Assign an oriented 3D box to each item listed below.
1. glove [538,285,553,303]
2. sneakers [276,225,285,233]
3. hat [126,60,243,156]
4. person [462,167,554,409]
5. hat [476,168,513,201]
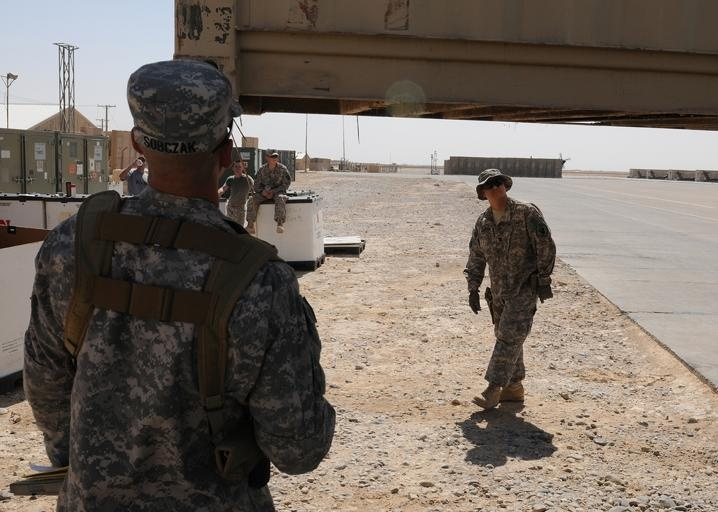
[{"bbox_3d":[1.793,0.326,9.003,0.181,0.186,0.063,-3,8,29],"label":"glove"},{"bbox_3d":[-1.235,-0.438,14.990,0.077,0.128,0.127,0,-6,0],"label":"sneakers"},{"bbox_3d":[-0.982,-0.933,5.473,0.610,0.390,0.803,2,30,3],"label":"hat"},{"bbox_3d":[1.426,0.296,9.099,0.766,2.242,0.822,-6,13,-17],"label":"person"},{"bbox_3d":[1.269,-0.747,9.065,0.291,0.180,0.342,-8,-36,6],"label":"hat"}]
